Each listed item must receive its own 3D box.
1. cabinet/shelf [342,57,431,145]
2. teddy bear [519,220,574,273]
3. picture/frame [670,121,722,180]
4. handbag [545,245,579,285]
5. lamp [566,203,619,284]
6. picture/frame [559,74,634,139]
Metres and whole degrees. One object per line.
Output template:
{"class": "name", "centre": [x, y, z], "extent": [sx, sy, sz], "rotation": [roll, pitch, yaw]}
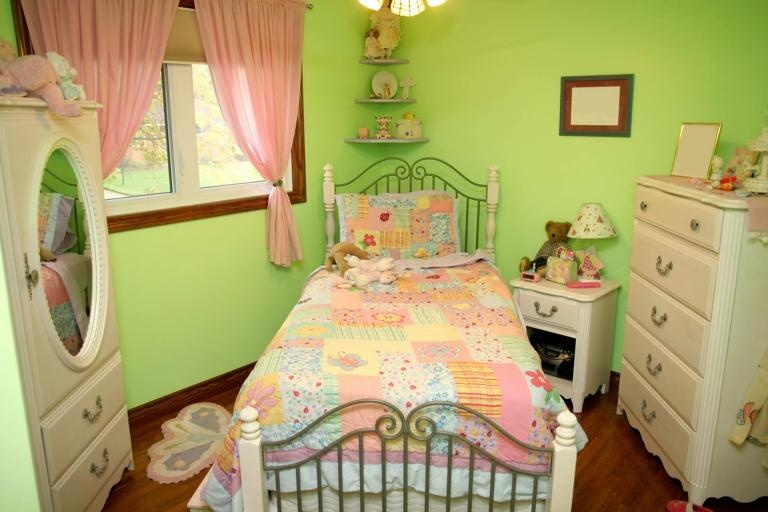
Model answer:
{"class": "cabinet/shelf", "centre": [-0.025, -1.260, 4.353], "extent": [0.598, 0.555, 0.459], "rotation": [6, 12, 21]}
{"class": "teddy bear", "centre": [1.147, -0.089, 3.938], "extent": [0.400, 0.478, 0.308], "rotation": [-4, 13, -32]}
{"class": "picture/frame", "centre": [1.844, -0.628, 3.177], "extent": [0.155, 0.316, 0.298], "rotation": [-2, 18, -4]}
{"class": "handbag", "centre": [1.221, 0.053, 3.665], "extent": [0.148, 0.251, 0.188], "rotation": [-10, 15, -41]}
{"class": "lamp", "centre": [1.426, -0.084, 3.691], "extent": [0.308, 0.538, 0.306], "rotation": [-4, 7, -26]}
{"class": "picture/frame", "centre": [1.469, -1.036, 3.666], "extent": [0.459, 0.392, 0.036], "rotation": [5, 10, 28]}
